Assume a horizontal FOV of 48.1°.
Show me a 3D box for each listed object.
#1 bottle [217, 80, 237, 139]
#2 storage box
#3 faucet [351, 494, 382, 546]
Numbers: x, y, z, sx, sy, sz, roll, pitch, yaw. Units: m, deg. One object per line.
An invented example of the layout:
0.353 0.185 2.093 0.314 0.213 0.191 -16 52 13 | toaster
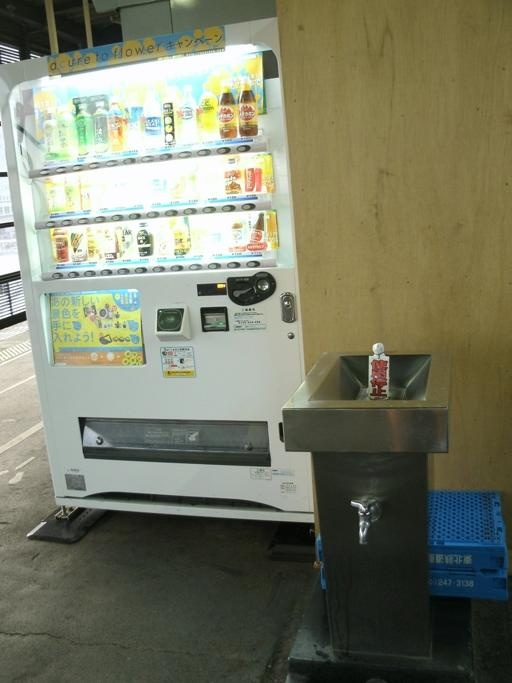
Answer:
-0.111 -0.876 2.187 0.075 0.204 0.065 -6 10 -5 | bottle
0.494 0.612 1.699 0.463 0.122 0.487 -9 44 26 | storage box
0.264 0.439 1.411 0.074 0.104 0.082 4 3 21 | faucet
